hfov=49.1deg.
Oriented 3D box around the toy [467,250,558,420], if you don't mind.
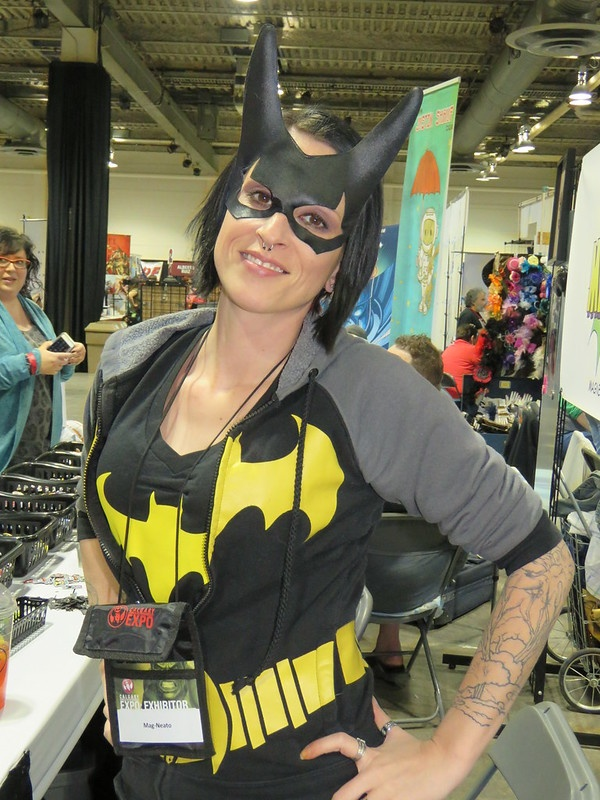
[{"bbox_3d":[1.984,-0.676,6.290,1.129,1.350,0.613,-17,14,16],"label":"toy"}]
